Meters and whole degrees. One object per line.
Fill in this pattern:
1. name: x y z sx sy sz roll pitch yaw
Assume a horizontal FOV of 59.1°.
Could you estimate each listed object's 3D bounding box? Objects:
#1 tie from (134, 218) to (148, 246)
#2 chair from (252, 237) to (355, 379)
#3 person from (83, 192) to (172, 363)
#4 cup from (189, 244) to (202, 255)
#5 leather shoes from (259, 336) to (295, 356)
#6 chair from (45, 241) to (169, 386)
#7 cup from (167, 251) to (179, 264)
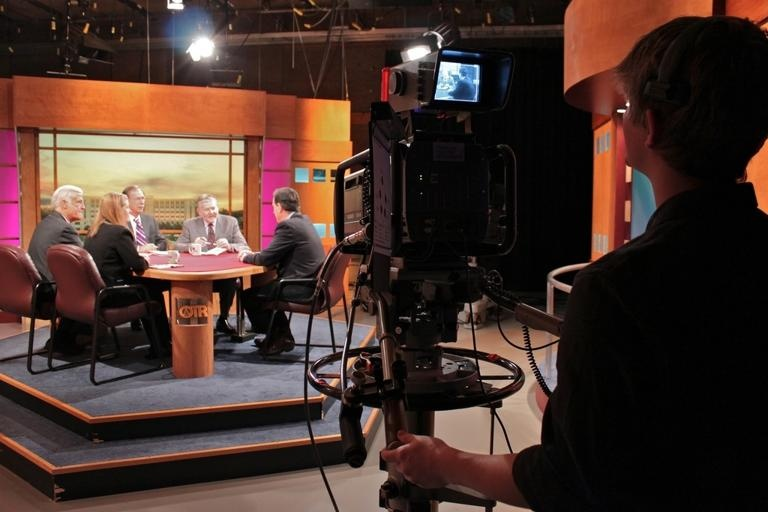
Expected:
1. tie: -2.226 -0.214 6.216 0.064 0.253 0.152 -9 -4 33
2. chair: -0.695 0.354 5.110 0.684 0.879 0.621 -2 1 -12
3. person: -1.875 0.110 5.095 0.652 1.140 0.472 -4 3 -44
4. cup: -1.595 -0.059 5.745 0.119 0.098 0.074 0 2 -8
5. leather shoes: -0.817 0.699 5.241 0.313 0.150 0.123 4 -3 -28
6. chair: -1.974 0.370 4.805 0.721 0.925 0.713 2 7 15
7. cup: -1.530 0.004 4.924 0.102 0.097 0.086 1 -1 22
